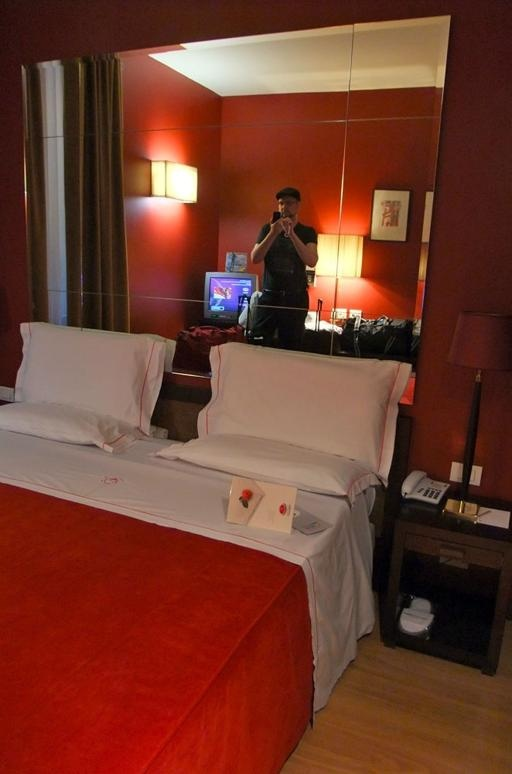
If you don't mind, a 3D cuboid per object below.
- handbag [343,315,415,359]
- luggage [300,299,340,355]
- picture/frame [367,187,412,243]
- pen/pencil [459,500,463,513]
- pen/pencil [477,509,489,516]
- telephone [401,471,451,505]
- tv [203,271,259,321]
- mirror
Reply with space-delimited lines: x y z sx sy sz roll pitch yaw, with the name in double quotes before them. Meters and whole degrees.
"handbag" 0.504 -0.225 2.329 0.242 0.088 0.150 11 25 30
"luggage" 0.282 -0.239 2.471 0.135 0.237 0.147 9 -16 6
"picture/frame" 0.534 -0.684 2.214 0.186 0.276 0.018 7 13 24
"pen/pencil" 0.744 0.431 2.038 0.007 0.029 0.030 8 -1 11
"pen/pencil" 0.823 0.449 2.032 0.023 0.007 0.024 14 21 18
"telephone" 0.645 0.386 2.130 0.119 0.046 0.134 12 31 23
"tv" -0.142 -0.464 2.651 0.227 0.228 0.142 -1 34 -15
"mirror" -0.042 -0.786 2.455 1.659 1.345 0.005 15 25 34
